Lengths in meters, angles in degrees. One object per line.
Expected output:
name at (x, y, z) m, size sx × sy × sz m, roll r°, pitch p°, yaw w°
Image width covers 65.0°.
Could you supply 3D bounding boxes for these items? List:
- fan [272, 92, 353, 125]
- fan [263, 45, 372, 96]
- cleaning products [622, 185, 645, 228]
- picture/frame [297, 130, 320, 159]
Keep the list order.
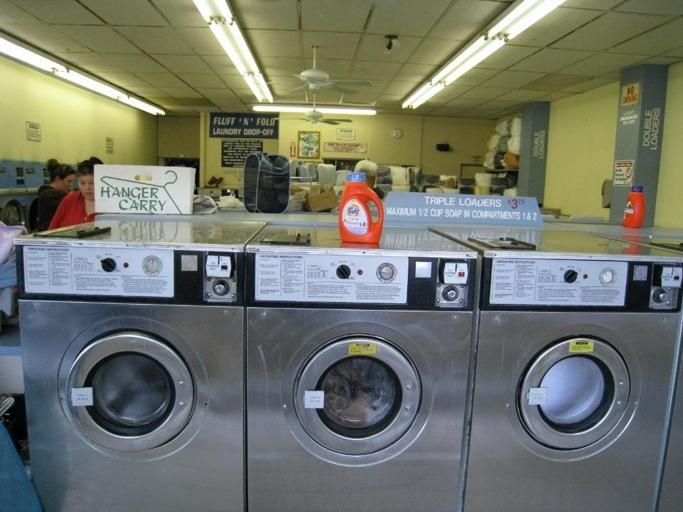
fan at (-0.552, -2.859, 10.346) m, size 1.504 × 0.399 × 1.486 m, roll 1°, pitch 0°, yaw -16°
fan at (-0.295, -2.314, 6.599) m, size 1.252 × 0.590 × 1.238 m, roll 2°, pitch 11°, yaw 13°
cleaning products at (1.886, -0.317, 3.451) m, size 0.121 × 0.271 × 0.334 m, roll 7°, pitch 10°, yaw 27°
picture/frame at (-0.816, -2.803, 13.341) m, size 0.699 × 0.763 × 0.052 m, roll 0°, pitch 3°, yaw -4°
